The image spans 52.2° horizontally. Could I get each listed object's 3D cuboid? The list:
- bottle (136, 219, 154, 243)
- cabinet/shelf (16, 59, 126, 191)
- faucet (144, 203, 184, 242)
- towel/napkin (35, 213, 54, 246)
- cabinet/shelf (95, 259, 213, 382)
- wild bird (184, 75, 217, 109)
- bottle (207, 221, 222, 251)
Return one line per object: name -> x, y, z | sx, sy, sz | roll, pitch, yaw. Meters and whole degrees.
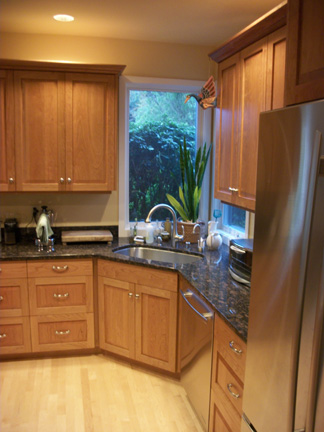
bottle -> -0.151, 0.163, 3.142 | 0.114, 0.250, 0.217 | 0, 1, -30
cabinet/shelf -> -0.796, -0.752, 2.771 | 0.880, 1.206, 0.449 | 0, 5, -7
faucet -> 0.007, 0.092, 2.848 | 0.285, 0.440, 0.157 | 0, 38, 5
towel/napkin -> -1.067, 0.092, 3.011 | 0.132, 0.213, 0.366 | 0, 12, -15
cabinet/shelf -> -0.126, 0.723, 2.805 | 0.742, 0.836, 0.585 | 4, 10, 18
wild bird -> 0.323, -0.979, 2.709 | 0.255, 0.234, 0.370 | -22, 20, -1
bottle -> 0.455, 0.178, 2.889 | 0.117, 0.233, 0.146 | -8, 12, -35
